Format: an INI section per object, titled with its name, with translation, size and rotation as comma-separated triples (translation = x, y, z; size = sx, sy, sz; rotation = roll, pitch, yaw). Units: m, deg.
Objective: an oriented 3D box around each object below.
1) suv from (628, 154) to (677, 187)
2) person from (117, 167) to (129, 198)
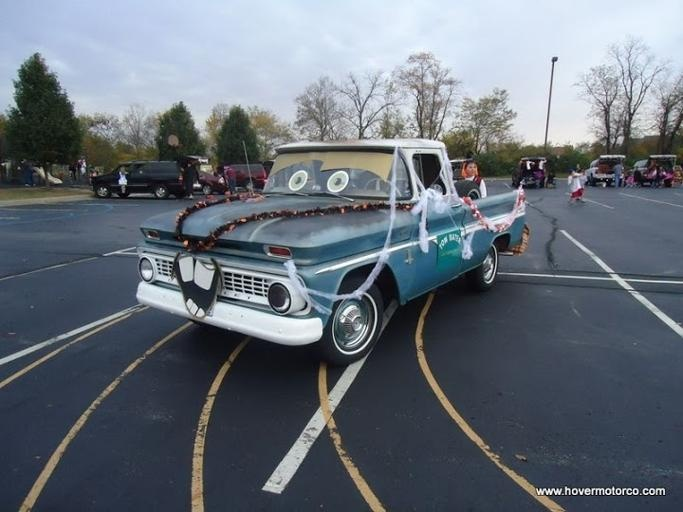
[suv]
translation = 23.737, -6.362, 32.272
size = 2.358, 2.319, 4.210
rotation = 9, 17, 34
[person]
translation = -11.974, -4.102, 23.444
size = 0.528, 1.415, 0.486
rotation = -4, 14, -16
